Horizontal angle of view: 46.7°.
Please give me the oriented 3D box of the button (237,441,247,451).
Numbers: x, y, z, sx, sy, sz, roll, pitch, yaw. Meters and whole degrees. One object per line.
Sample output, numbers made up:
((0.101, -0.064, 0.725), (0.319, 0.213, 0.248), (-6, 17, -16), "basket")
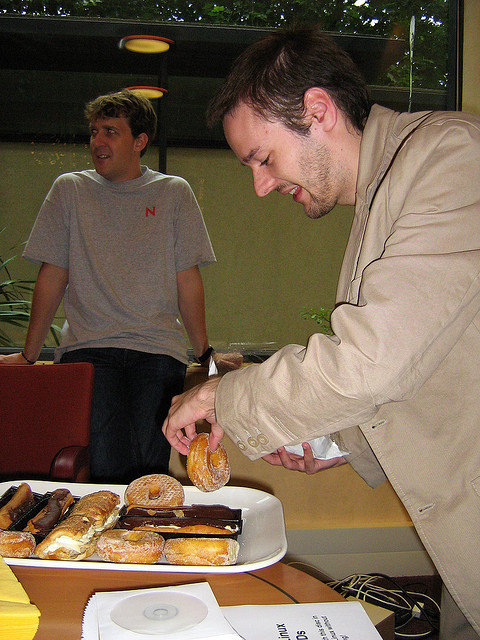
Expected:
((0.002, 0.163, 0.719), (0.013, 0.013, 0.003), (36, 55, 4), "button")

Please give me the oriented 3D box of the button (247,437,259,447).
((0.016, 0.155, 0.705), (0.013, 0.012, 0.003), (-12, 14, 37), "button")

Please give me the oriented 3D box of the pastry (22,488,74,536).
((-0.273, 0.276, 0.798), (0.024, 0.014, 0.066), (19, 4, -1), "pastry")

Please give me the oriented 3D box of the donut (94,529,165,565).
((-0.144, 0.286, 0.724), (0.056, 0.017, 0.049), (3, -6, 11), "donut")

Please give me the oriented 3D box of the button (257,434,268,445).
((0.028, 0.149, 0.698), (0.014, 0.013, 0.004), (-9, 9, 34), "button")
